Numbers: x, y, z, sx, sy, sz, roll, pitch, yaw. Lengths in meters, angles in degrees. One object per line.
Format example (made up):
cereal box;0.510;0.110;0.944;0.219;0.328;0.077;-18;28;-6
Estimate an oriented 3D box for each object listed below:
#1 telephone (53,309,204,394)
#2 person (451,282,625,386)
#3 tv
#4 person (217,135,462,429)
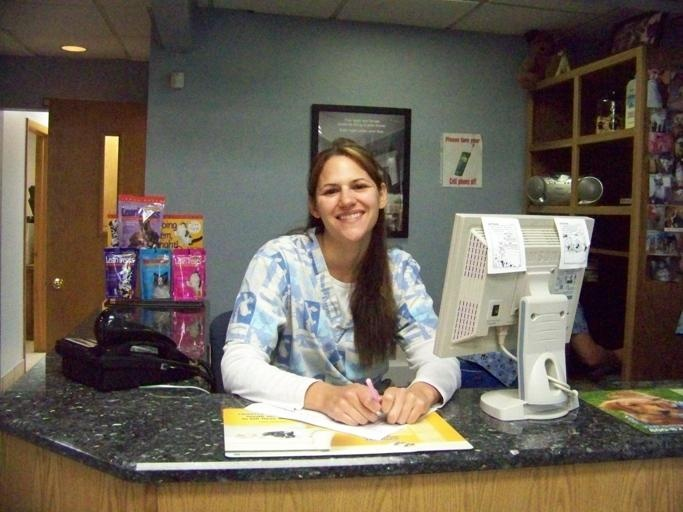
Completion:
telephone;-0.658;0.292;1.811;0.384;0.180;0.241;4;-7;-38
person;1.014;0.506;2.761;0.837;0.607;0.446;0;4;-8
tv;0.562;0.165;1.672;0.536;0.582;0.222;-3;4;-25
person;0.076;0.070;2.022;0.836;0.958;0.866;3;-6;-20
